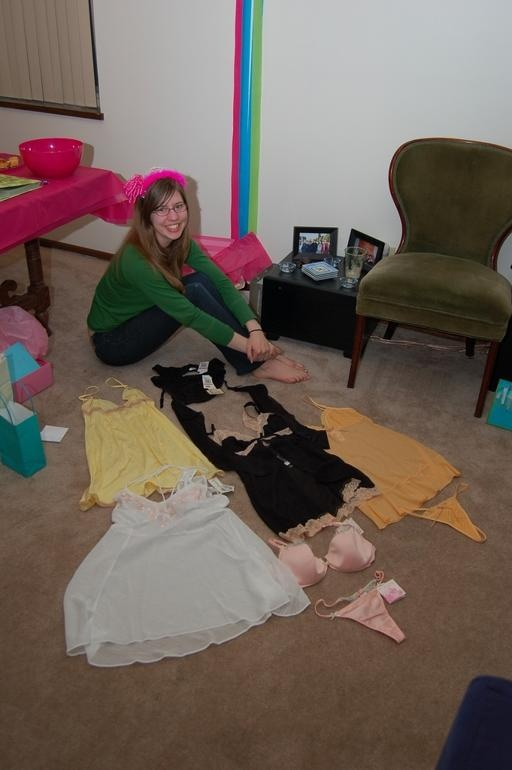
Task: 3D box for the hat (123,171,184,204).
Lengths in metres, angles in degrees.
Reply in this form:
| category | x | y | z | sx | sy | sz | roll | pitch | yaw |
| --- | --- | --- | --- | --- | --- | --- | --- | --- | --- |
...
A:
| category | x | y | z | sx | sy | sz | roll | pitch | yaw |
| --- | --- | --- | --- | --- | --- | --- | --- | --- | --- |
| hat | -0.357 | -0.696 | 2.015 | 0.205 | 0.144 | 0.182 | 0 | 29 | -11 |

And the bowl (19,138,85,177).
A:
| category | x | y | z | sx | sy | sz | roll | pitch | yaw |
| --- | --- | --- | --- | --- | --- | --- | --- | --- | --- |
| bowl | -0.850 | -0.947 | 2.373 | 0.231 | 0.127 | 0.342 | -4 | 30 | -17 |

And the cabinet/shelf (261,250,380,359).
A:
| category | x | y | z | sx | sy | sz | roll | pitch | yaw |
| --- | --- | --- | --- | --- | --- | --- | --- | --- | --- |
| cabinet/shelf | 0.266 | -0.444 | 2.573 | 0.454 | 0.335 | 0.440 | 13 | 35 | 8 |

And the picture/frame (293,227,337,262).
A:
| category | x | y | z | sx | sy | sz | roll | pitch | yaw |
| --- | --- | --- | --- | --- | --- | --- | --- | --- | --- |
| picture/frame | 0.273 | -0.653 | 2.631 | 0.191 | 0.152 | 0.020 | -1 | 26 | -1 |

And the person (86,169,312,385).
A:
| category | x | y | z | sx | sy | sz | roll | pitch | yaw |
| --- | --- | --- | --- | --- | --- | --- | --- | --- | --- |
| person | -0.252 | -0.407 | 2.211 | 0.879 | 0.767 | 0.368 | 10 | 32 | 18 |
